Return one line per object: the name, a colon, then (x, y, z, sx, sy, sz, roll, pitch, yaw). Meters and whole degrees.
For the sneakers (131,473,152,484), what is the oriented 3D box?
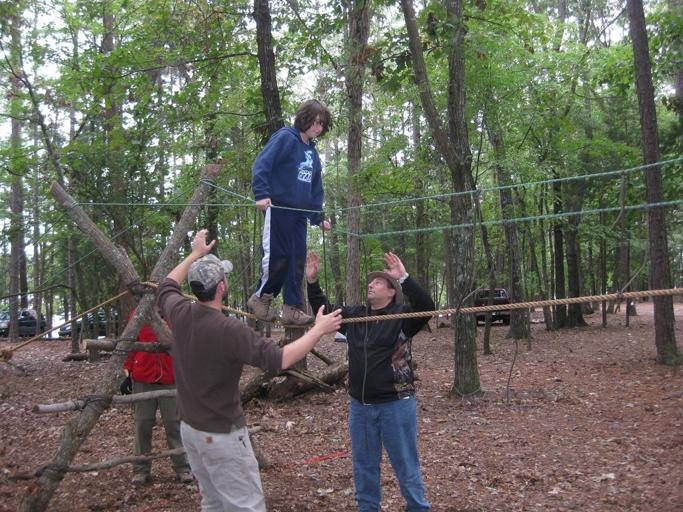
sneakers: (-3.330, 3.709, 11.864, 0.126, 0.161, 0.359, -7, -23, 26)

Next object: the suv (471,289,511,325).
suv: (5.787, 1.863, 27.533, 1.557, 1.476, 2.807, 0, -2, -4)

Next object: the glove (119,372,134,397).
glove: (-3.722, 2.208, 12.254, 0.117, 0.420, 0.304, 6, 0, 29)

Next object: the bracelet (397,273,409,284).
bracelet: (0.888, 0.324, 10.479, 0.142, 0.055, 0.142, -48, 2, -9)

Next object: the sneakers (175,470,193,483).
sneakers: (-2.631, 3.671, 11.890, 0.291, 0.297, 0.156, -7, -9, 23)
